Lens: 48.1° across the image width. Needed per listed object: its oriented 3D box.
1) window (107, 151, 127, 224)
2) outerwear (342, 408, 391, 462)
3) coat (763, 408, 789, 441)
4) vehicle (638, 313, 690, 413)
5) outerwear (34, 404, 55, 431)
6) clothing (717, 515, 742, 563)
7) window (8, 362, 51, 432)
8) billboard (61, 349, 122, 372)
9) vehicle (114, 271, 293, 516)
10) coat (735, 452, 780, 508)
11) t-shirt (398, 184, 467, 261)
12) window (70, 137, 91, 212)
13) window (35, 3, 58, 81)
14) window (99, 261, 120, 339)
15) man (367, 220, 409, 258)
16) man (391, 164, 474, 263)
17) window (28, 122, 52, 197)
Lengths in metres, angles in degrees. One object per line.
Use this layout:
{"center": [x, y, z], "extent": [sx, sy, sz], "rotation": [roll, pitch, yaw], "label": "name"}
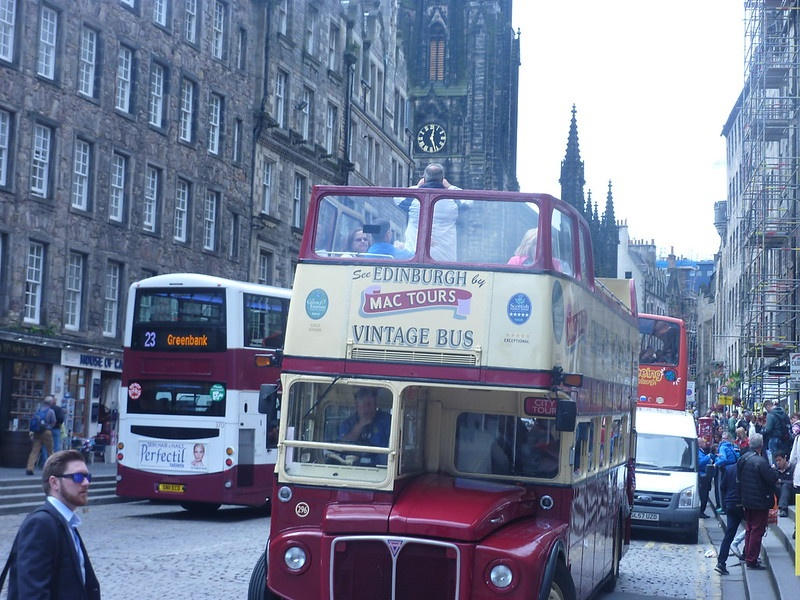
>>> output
{"center": [-9.676, -3.849, 30.661], "extent": [0.593, 1.884, 0.992], "rotation": [10, 2, -2], "label": "window"}
{"center": [-0.283, 1.276, 8.424], "extent": [0.429, 0.487, 0.138], "rotation": [-4, -8, 23], "label": "outerwear"}
{"center": [8.818, 2.945, 20.972], "extent": [0.712, 0.904, 0.493], "rotation": [-3, 7, -32], "label": "coat"}
{"center": [7.092, 1.643, 23.978], "extent": [1.422, 2.345, 4.314], "rotation": [0, -8, 15], "label": "vehicle"}
{"center": [-9.075, 3.036, 22.796], "extent": [0.409, 0.640, 0.583], "rotation": [0, -12, 9], "label": "outerwear"}
{"center": [5.023, 3.667, 13.695], "extent": [0.205, 0.882, 0.259], "rotation": [11, -2, 24], "label": "clothing"}
{"center": [-10.836, 2.848, 25.856], "extent": [0.131, 2.197, 1.848], "rotation": [2, -3, 20], "label": "window"}
{"center": [-10.048, 2.012, 29.020], "extent": [0.342, 0.623, 2.868], "rotation": [11, 2, 15], "label": "billboard"}
{"center": [-5.606, 3.231, 23.169], "extent": [2.719, 5.193, 9.473], "rotation": [1, -19, -10], "label": "vehicle"}
{"center": [5.291, 2.696, 13.283], "extent": [0.582, 0.910, 0.443], "rotation": [12, 3, 23], "label": "coat"}
{"center": [0.429, -0.778, 8.908], "extent": [0.355, 0.832, 0.206], "rotation": [-3, 35, 0], "label": "t-shirt"}
{"center": [-10.437, -3.903, 29.145], "extent": [0.951, 1.983, 0.140], "rotation": [11, 11, 30], "label": "window"}
{"center": [-10.930, -7.974, 27.636], "extent": [0.429, 1.703, 0.881], "rotation": [11, 2, 17], "label": "window"}
{"center": [-9.950, 0.001, 30.577], "extent": [0.859, 2.591, 0.203], "rotation": [7, 2, 23], "label": "window"}
{"center": [-0.132, -0.589, 8.939], "extent": [0.566, 0.454, 0.297], "rotation": [0, 4, 11], "label": "man"}
{"center": [0.390, -0.641, 9.273], "extent": [0.662, 1.696, 0.483], "rotation": [-4, 36, 1], "label": "man"}
{"center": [-11.042, -4.277, 27.376], "extent": [0.619, 1.716, 0.737], "rotation": [12, 3, 42], "label": "window"}
